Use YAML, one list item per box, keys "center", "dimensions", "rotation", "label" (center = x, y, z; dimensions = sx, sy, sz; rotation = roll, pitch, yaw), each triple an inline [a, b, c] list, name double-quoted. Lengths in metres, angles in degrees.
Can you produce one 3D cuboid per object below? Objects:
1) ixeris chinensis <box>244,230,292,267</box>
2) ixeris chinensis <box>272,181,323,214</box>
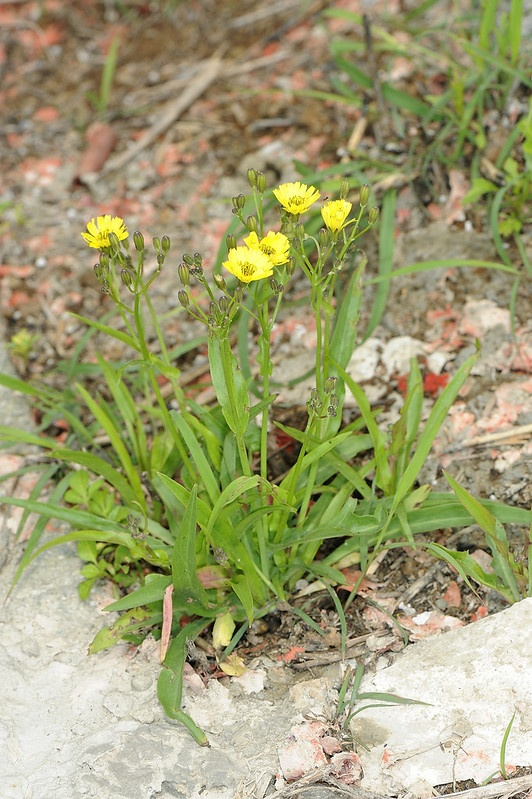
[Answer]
- center: [0.005, -0.317, 1.507]
  dimensions: [0.096, 0.037, 0.092]
  rotation: [18, 46, -4]
  label: "ixeris chinensis"
- center: [0.068, -0.427, 1.570]
  dimensions: [0.103, 0.044, 0.095]
  rotation: [12, 46, 9]
  label: "ixeris chinensis"
